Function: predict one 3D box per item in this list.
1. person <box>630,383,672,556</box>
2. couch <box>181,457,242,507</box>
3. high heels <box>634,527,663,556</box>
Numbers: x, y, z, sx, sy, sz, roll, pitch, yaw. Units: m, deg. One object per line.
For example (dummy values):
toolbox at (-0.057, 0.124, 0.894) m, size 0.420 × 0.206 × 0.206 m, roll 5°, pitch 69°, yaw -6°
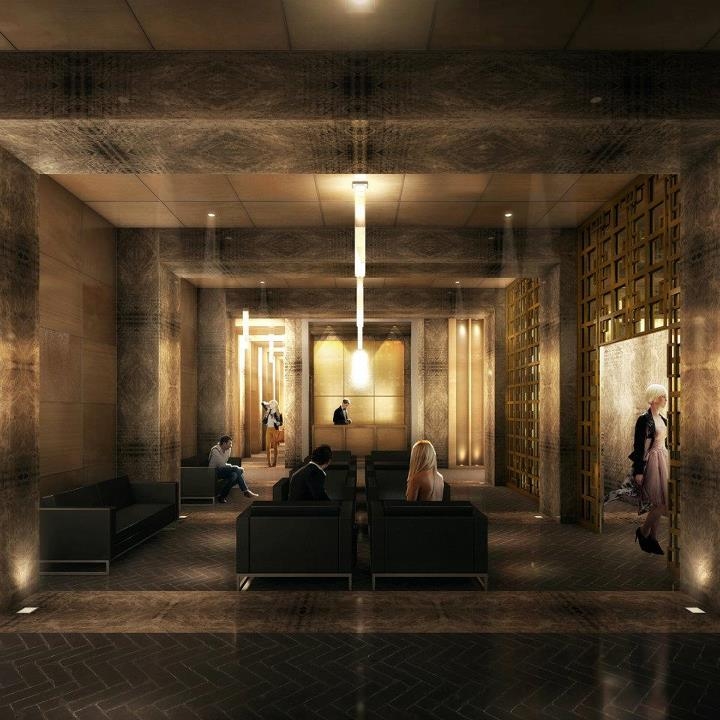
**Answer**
person at (3.214, 1.247, 7.013) m, size 0.378 × 1.892 × 0.599 m, roll -1°, pitch -4°, yaw 24°
couch at (-2.918, 2.195, 11.404) m, size 0.651 × 0.740 × 1.024 m, roll 1°, pitch -4°, yaw -15°
high heels at (3.282, 2.077, 7.221) m, size 0.199 × 0.373 × 0.148 m, roll -37°, pitch -10°, yaw -47°
